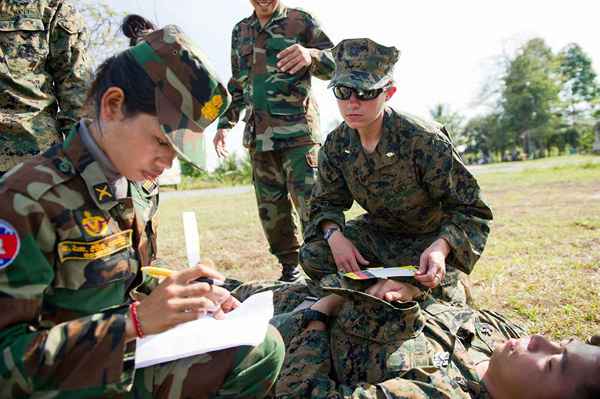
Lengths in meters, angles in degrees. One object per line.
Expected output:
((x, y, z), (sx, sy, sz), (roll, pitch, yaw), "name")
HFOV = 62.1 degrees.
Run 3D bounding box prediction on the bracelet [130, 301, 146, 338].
((-0.963, 0.721, 2.956), (0.064, 0.217, 0.098), (-6, 5, -20), "bracelet")
